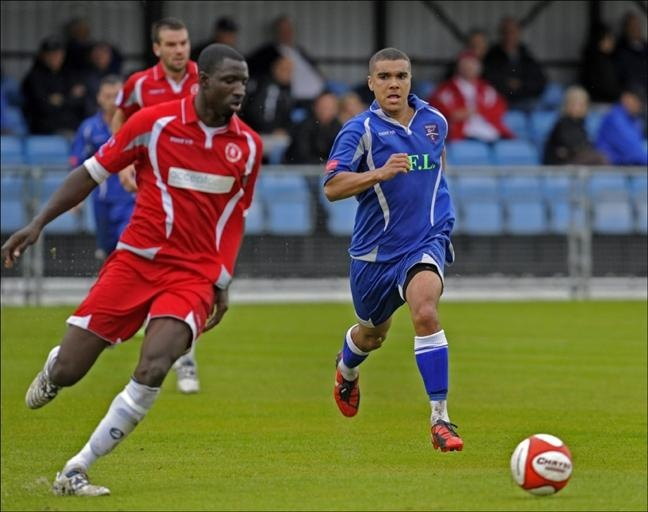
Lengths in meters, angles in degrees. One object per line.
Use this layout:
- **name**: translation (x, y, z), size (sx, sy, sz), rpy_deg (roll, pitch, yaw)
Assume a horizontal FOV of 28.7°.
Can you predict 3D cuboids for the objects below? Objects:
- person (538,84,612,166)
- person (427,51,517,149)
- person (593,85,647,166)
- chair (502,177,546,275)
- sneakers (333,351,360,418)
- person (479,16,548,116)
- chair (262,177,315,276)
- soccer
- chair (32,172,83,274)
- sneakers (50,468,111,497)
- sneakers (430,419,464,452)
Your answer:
- **person**: translation (3.375, -1.711, 16.783), size (0.830, 1.022, 0.539), rpy_deg (2, 8, 10)
- **person**: translation (2.326, -2.413, 19.704), size (1.307, 1.473, 0.386), rpy_deg (-1, -13, -3)
- **person**: translation (4.266, -1.837, 17.972), size (0.460, 0.486, 1.363), rpy_deg (8, -17, -3)
- **chair**: translation (2.832, -0.603, 17.070), size (0.814, 1.020, 0.627), rpy_deg (1, 3, 18)
- **sneakers**: translation (0.238, 1.153, 11.356), size (0.208, 0.585, 0.270), rpy_deg (-1, 19, 3)
- **person**: translation (2.878, -2.889, 19.236), size (1.007, 1.302, 0.343), rpy_deg (-4, 9, -3)
- **chair**: translation (-0.469, -0.525, 16.894), size (0.714, 1.161, 0.623), rpy_deg (1, 8, 1)
- **soccer**: translation (1.649, 1.581, 9.557), size (0.502, 0.479, 0.483), rpy_deg (9, -14, -9)
- **chair**: translation (-2.096, -0.195, 9.751), size (0.384, 0.984, 0.172), rpy_deg (16, 27, 12)
- **sneakers**: translation (-1.812, 1.672, 9.372), size (0.460, 0.197, 0.167), rpy_deg (1, -3, 7)
- **sneakers**: translation (0.965, 1.375, 9.788), size (0.140, 0.170, 0.352), rpy_deg (-5, -4, -19)
